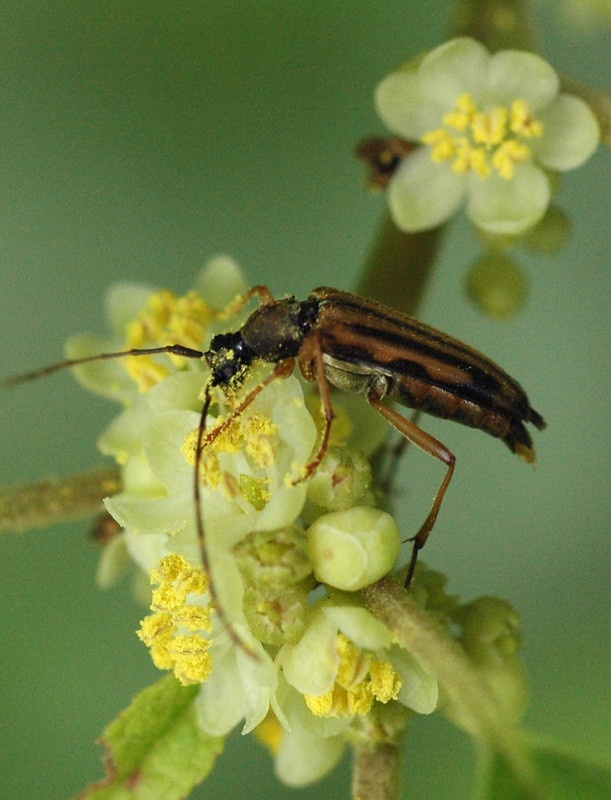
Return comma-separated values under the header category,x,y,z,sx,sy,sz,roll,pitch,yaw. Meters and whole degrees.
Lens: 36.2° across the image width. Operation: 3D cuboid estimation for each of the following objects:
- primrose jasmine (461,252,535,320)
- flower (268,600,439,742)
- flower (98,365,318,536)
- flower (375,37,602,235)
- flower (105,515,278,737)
category,x,y,z,sx,sy,sz,roll,pitch,yaw
primrose jasmine,0.278,-0.166,1.365,0.080,0.045,0.107,-31,79,-5
flower,0.053,0.319,1.154,0.188,0.084,0.162,-38,87,-5
flower,-0.143,0.081,1.329,0.324,0.392,0.229,5,80,4
flower,0.275,-0.388,1.406,0.317,0.106,0.309,-4,77,1
flower,-0.074,0.296,1.258,0.275,0.110,0.257,-17,109,25
